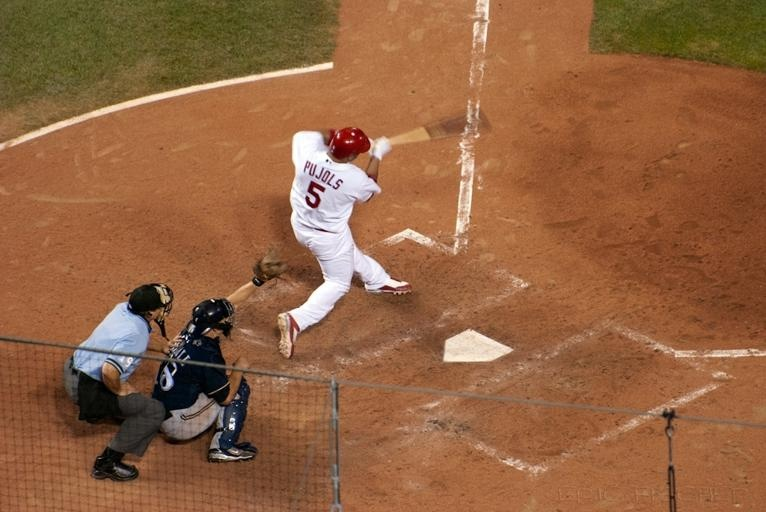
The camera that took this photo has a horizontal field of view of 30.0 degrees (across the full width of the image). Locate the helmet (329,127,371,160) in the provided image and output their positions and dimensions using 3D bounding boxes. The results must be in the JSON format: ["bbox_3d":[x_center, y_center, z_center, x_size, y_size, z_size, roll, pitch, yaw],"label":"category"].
[{"bbox_3d":[-0.481,-1.806,22.818,0.725,0.332,0.416,-12,60,-26],"label":"helmet"}]

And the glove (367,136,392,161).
[{"bbox_3d":[-0.073,-1.770,23.485,0.435,0.153,0.347,-2,77,-10],"label":"glove"}]

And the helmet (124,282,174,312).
[{"bbox_3d":[-3.598,0.638,21.978,0.653,0.297,0.381,-2,56,10],"label":"helmet"}]
